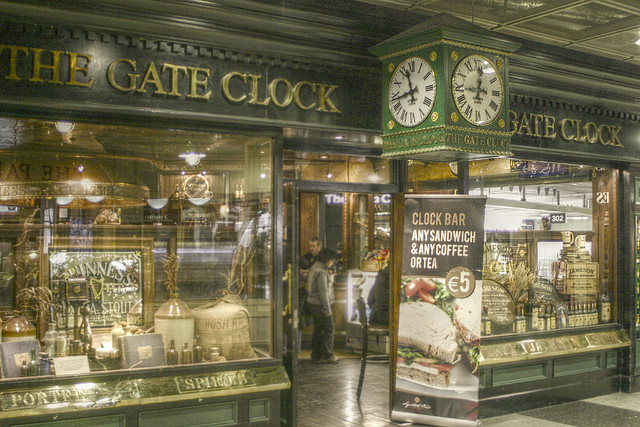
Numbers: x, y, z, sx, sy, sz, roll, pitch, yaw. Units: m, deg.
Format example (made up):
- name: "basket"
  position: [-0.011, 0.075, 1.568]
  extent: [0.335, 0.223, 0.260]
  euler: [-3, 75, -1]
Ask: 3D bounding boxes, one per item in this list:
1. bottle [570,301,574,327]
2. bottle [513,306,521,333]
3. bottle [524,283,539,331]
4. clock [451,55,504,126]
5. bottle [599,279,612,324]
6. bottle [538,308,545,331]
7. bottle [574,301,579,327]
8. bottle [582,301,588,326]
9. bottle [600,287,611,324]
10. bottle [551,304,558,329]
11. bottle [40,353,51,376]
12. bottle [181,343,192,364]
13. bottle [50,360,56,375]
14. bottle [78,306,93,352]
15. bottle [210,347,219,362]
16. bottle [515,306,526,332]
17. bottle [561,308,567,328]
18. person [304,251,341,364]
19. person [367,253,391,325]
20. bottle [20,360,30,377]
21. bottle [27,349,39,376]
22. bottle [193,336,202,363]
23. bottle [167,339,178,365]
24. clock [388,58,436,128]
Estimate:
- name: "bottle"
  position: [3.309, 1.336, 9.303]
  extent: [0.044, 0.301, 0.114]
  euler: [-2, -1, 22]
- name: "bottle"
  position: [2.446, 1.331, 8.817]
  extent: [0.144, 0.281, 0.057]
  euler: [-1, -1, -45]
- name: "bottle"
  position: [2.679, 1.198, 8.983]
  extent: [0.292, 0.522, 0.117]
  euler: [-1, -1, -45]
- name: "clock"
  position: [1.573, -1.238, 7.065]
  extent: [0.739, 0.704, 0.054]
  euler: [1, -2, -31]
- name: "bottle"
  position: [3.831, 1.189, 9.546]
  extent: [0.214, 0.553, 0.083]
  euler: [-1, -1, -27]
- name: "bottle"
  position: [2.809, 1.361, 9.018]
  extent: [0.124, 0.234, 0.046]
  euler: [-1, -1, -37]
- name: "bottle"
  position: [3.378, 1.334, 9.329]
  extent: [0.056, 0.305, 0.115]
  euler: [-2, -1, 21]
- name: "bottle"
  position: [3.507, 1.335, 9.385]
  extent: [0.097, 0.295, 0.047]
  euler: [-1, -1, -42]
- name: "bottle"
  position: [3.838, 1.245, 9.538]
  extent: [0.177, 0.452, 0.053]
  euler: [-1, -1, -28]
- name: "bottle"
  position: [3.015, 1.336, 9.137]
  extent: [0.138, 0.271, 0.051]
  euler: [-1, -1, -44]
- name: "bottle"
  position: [-2.534, 1.388, 6.467]
  extent: [0.085, 0.201, 0.039]
  euler: [-1, -1, -23]
- name: "bottle"
  position: [-1.313, 1.373, 6.895]
  extent: [0.098, 0.195, 0.046]
  euler: [-1, -1, -38]
- name: "bottle"
  position: [-2.471, 1.422, 6.486]
  extent: [0.043, 0.123, 0.035]
  euler: [-1, -1, -18]
- name: "bottle"
  position: [-2.208, 1.085, 6.600]
  extent: [0.128, 0.425, 0.045]
  euler: [-1, -1, -17]
- name: "bottle"
  position: [-1.056, 1.402, 6.980]
  extent: [0.087, 0.137, 0.052]
  euler: [-1, -1, -12]
- name: "bottle"
  position: [2.498, 1.330, 8.852]
  extent: [0.068, 0.276, 0.187]
  euler: [-2, -1, 41]
- name: "bottle"
  position: [3.169, 1.368, 9.219]
  extent: [0.088, 0.222, 0.039]
  euler: [-1, -1, -33]
- name: "person"
  position: [0.006, 1.454, 10.796]
  extent: [0.410, 1.213, 0.494]
  euler: [-2, -1, 29]
- name: "person"
  position: [0.958, 1.178, 10.927]
  extent: [0.422, 1.303, 0.401]
  euler: [6, 19, 15]
- name: "bottle"
  position: [-2.694, 1.414, 6.409]
  extent: [0.080, 0.152, 0.026]
  euler: [-1, -1, -24]
- name: "bottle"
  position: [-2.627, 1.367, 6.441]
  extent: [0.089, 0.238, 0.034]
  euler: [-1, -1, -28]
- name: "bottle"
  position: [-1.217, 1.342, 6.941]
  extent: [0.085, 0.249, 0.065]
  euler: [-1, -1, -10]
- name: "bottle"
  position: [-1.444, 1.353, 6.847]
  extent: [0.096, 0.233, 0.047]
  euler: [-1, -1, -12]
- name: "clock"
  position: [0.938, -1.225, 7.097]
  extent: [0.119, 0.855, 0.752]
  euler: [4, -3, -43]
